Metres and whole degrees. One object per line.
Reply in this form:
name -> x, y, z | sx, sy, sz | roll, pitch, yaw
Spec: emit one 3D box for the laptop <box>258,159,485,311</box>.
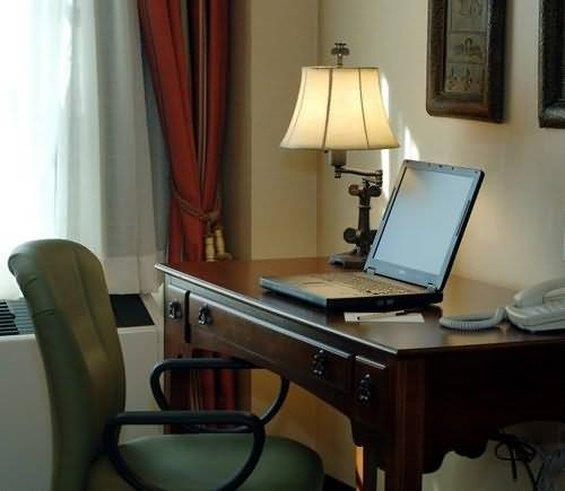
laptop -> 0.229, -0.015, 1.479 | 0.376, 0.362, 0.430 | 3, 3, -20
